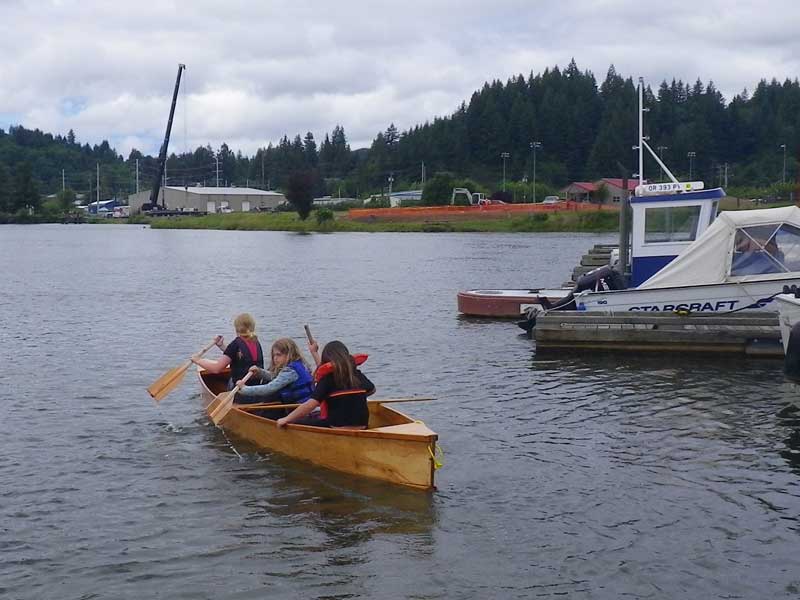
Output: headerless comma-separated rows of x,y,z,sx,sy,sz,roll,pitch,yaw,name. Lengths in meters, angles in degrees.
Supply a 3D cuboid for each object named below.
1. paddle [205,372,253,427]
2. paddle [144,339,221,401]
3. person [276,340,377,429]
-3.189,1.854,21.610,0.395,1.483,0.075,40,-16,31,paddle
-4.260,1.327,23.176,0.316,0.078,1.856,41,36,1,paddle
-1.146,1.400,20.288,1.339,1.481,0.667,1,4,-1,person
